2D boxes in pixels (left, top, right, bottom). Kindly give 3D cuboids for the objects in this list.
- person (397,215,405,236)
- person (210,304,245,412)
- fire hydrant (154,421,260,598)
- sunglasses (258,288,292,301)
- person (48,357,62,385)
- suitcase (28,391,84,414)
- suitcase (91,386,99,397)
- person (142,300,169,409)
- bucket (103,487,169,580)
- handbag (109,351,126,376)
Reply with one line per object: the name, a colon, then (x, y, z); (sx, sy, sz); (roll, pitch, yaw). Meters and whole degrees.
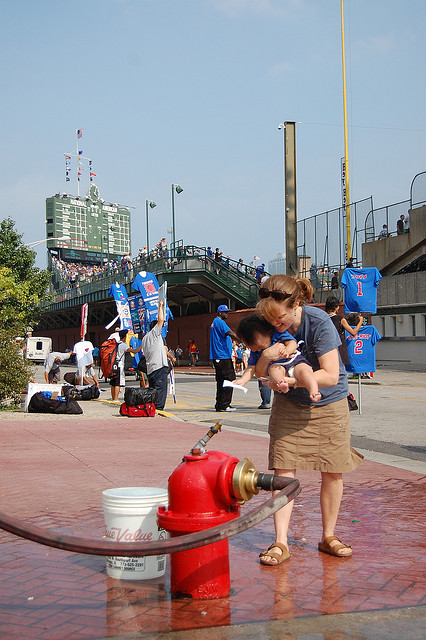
person: (9.242, -4.709, 33.969); (0.390, 0.899, 0.780); (-2, 1, 15)
person: (0.260, 0.654, 12.313); (0.705, 1.691, 0.634); (0, 0, -29)
fire hydrant: (-0.038, 0.846, 3.125); (0.429, 0.751, 0.508); (-3, 1, -36)
sunglasses: (0.296, -0.125, 3.332); (0.155, 0.058, 0.085); (-2, 1, 12)
person: (-4.159, 1.322, 18.186); (0.342, 0.725, 1.015); (-3, 1, -13)
suitcase: (-2.774, 1.493, 12.254); (0.654, 0.264, 0.512); (1, 0, 9)
suitcase: (-2.675, 1.633, 15.770); (0.127, 0.249, 0.427); (-3, 1, -1)
person: (-0.991, 0.602, 11.934); (0.403, 1.815, 0.896); (-3, 1, -5)
bucket: (-0.349, 1.020, 3.458); (0.372, 0.449, 0.387); (-1, -1, 0)
handbag: (-2.050, 0.986, 14.793); (0.185, 0.474, 0.497); (-2, 1, 17)
